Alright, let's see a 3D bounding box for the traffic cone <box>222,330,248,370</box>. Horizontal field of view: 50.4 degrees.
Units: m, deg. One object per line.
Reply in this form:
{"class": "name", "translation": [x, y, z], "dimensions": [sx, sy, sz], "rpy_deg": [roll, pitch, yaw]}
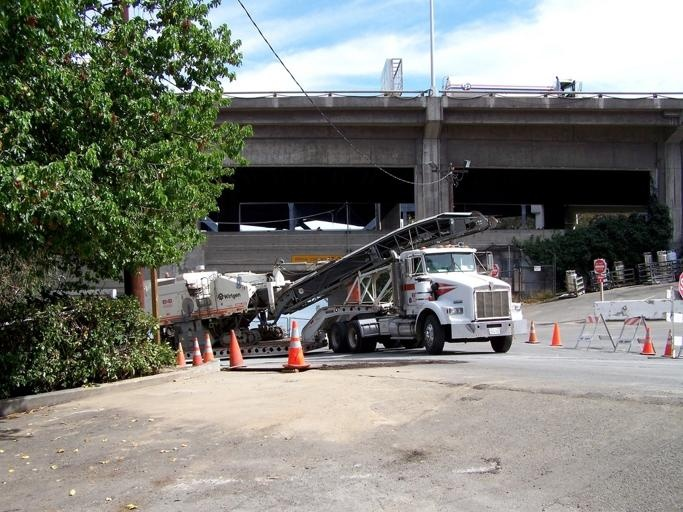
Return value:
{"class": "traffic cone", "translation": [-2.652, 2.334, 18.046], "dimensions": [0.735, 0.916, 0.781], "rpy_deg": [-7, 2, 15]}

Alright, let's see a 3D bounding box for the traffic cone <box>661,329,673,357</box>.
{"class": "traffic cone", "translation": [8.201, 2.202, 18.272], "dimensions": [0.239, 0.614, 1.391], "rpy_deg": [-4, -4, 23]}

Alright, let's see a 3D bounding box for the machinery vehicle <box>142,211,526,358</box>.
{"class": "machinery vehicle", "translation": [-1.087, 1.369, 24.101], "dimensions": [12.689, 4.196, 3.195], "rpy_deg": [-7, -13, 34]}

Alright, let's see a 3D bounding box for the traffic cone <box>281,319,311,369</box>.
{"class": "traffic cone", "translation": [-1.038, 1.964, 16.138], "dimensions": [0.652, 0.961, 0.728], "rpy_deg": [-3, -4, 4]}
